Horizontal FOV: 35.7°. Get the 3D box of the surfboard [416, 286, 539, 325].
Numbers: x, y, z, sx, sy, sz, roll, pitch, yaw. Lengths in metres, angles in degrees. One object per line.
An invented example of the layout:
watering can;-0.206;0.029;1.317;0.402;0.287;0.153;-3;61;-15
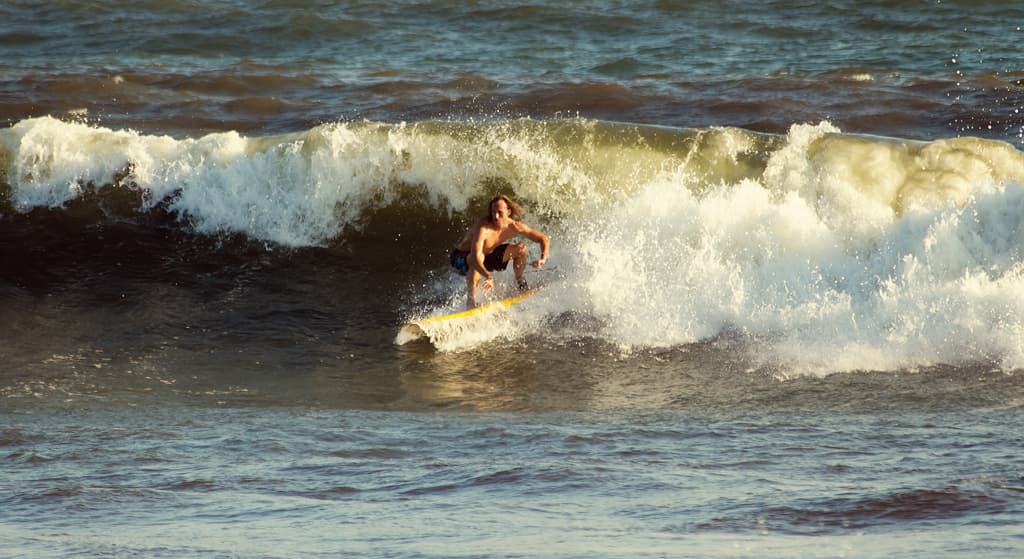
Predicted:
surfboard;-0.557;0.500;28.706;2.773;0.159;0.277;-11;2;-23
